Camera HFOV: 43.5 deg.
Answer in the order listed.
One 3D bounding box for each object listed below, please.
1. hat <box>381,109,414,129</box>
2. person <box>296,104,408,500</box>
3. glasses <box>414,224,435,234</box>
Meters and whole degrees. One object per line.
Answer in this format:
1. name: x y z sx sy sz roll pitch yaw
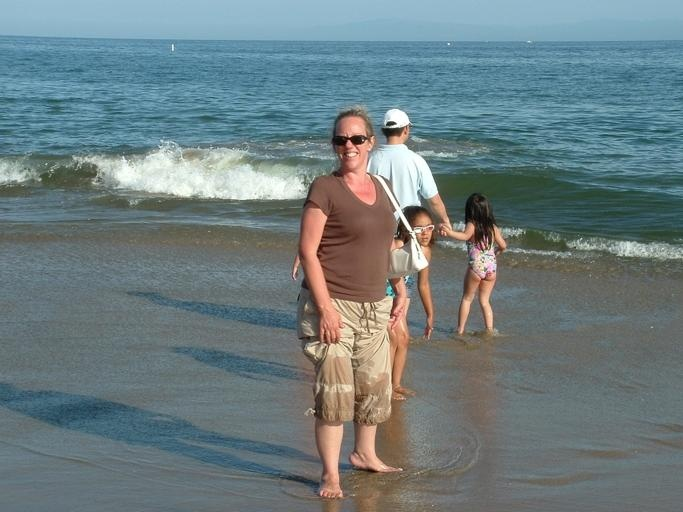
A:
1. hat: 0.476 -1.158 7.231 0.200 0.102 0.227 3 14 16
2. person: 0.036 0.320 5.839 0.603 2.601 0.965 5 19 23
3. glasses: 0.678 -0.225 6.817 0.215 0.068 0.064 -12 18 -41
